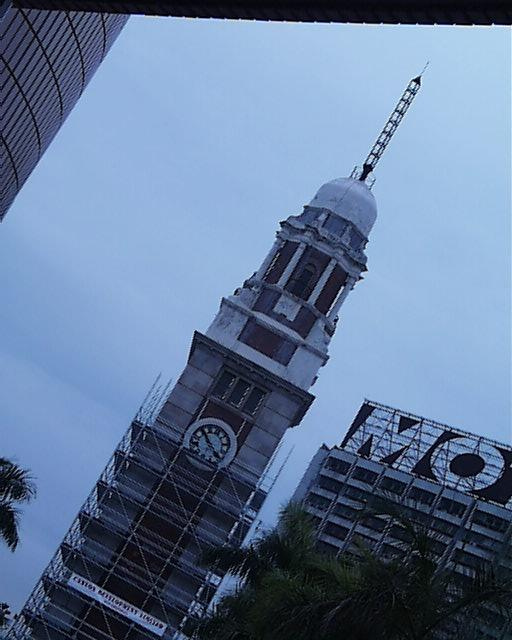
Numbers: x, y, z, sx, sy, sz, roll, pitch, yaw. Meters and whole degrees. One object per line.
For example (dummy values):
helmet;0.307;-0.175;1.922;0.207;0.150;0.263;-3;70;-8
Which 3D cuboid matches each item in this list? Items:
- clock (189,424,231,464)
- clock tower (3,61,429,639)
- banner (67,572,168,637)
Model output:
clock;-2.159;5.871;84.629;1.708;1.717;0.338;5;-21;-7
clock tower;-0.970;3.552;86.589;6.247;30.279;2.771;22;-31;14
banner;-6.228;12.767;80.101;4.827;0.869;0.427;25;-31;10
